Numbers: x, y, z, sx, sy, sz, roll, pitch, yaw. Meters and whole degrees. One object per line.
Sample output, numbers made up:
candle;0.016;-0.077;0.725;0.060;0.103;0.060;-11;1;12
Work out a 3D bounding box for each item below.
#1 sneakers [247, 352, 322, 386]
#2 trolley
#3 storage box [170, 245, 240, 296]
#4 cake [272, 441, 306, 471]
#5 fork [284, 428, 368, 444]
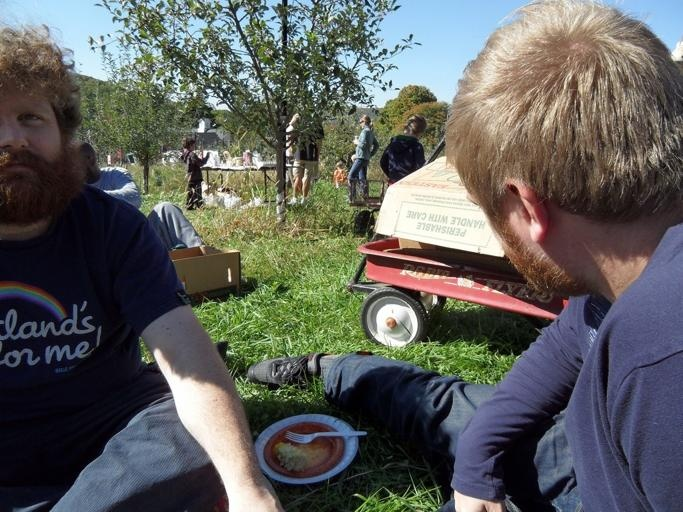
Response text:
sneakers;-0.319;0.672;2.973;0.477;0.227;0.184;-4;17;6
trolley;0.812;-0.098;3.499;1.458;1.454;1.051;15;40;24
storage box;-1.195;0.122;4.518;0.567;0.278;0.577;-7;16;-25
cake;-0.230;0.888;2.273;0.086;0.042;0.111;-6;23;-21
fork;-0.092;0.838;2.380;0.379;0.051;0.066;3;16;-1
